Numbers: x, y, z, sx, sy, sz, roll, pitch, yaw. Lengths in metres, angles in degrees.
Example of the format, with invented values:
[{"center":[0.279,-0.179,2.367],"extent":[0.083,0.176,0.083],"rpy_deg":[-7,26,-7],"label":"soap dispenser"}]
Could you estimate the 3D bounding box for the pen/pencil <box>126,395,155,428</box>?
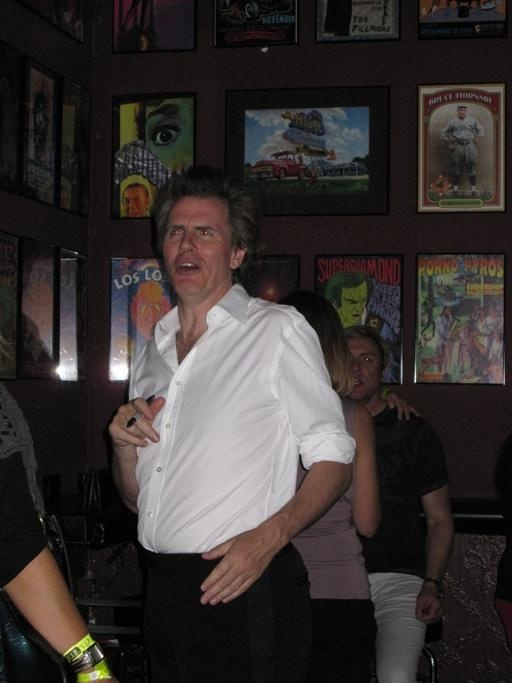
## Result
[{"center":[-0.227,0.140,1.352],"extent":[0.085,0.016,0.017],"rpy_deg":[-38,5,0],"label":"pen/pencil"}]
